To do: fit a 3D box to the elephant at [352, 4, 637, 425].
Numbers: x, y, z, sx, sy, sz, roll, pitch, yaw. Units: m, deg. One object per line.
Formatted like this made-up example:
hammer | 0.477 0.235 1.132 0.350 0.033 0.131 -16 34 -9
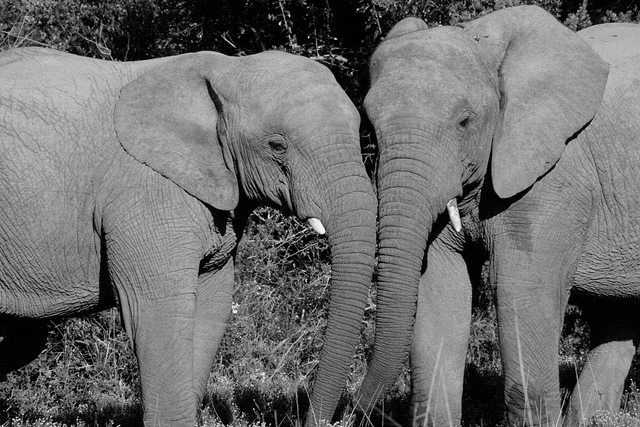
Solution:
elephant | 1.311 0.022 5.154 2.094 3.078 0.920 1 6 -3
